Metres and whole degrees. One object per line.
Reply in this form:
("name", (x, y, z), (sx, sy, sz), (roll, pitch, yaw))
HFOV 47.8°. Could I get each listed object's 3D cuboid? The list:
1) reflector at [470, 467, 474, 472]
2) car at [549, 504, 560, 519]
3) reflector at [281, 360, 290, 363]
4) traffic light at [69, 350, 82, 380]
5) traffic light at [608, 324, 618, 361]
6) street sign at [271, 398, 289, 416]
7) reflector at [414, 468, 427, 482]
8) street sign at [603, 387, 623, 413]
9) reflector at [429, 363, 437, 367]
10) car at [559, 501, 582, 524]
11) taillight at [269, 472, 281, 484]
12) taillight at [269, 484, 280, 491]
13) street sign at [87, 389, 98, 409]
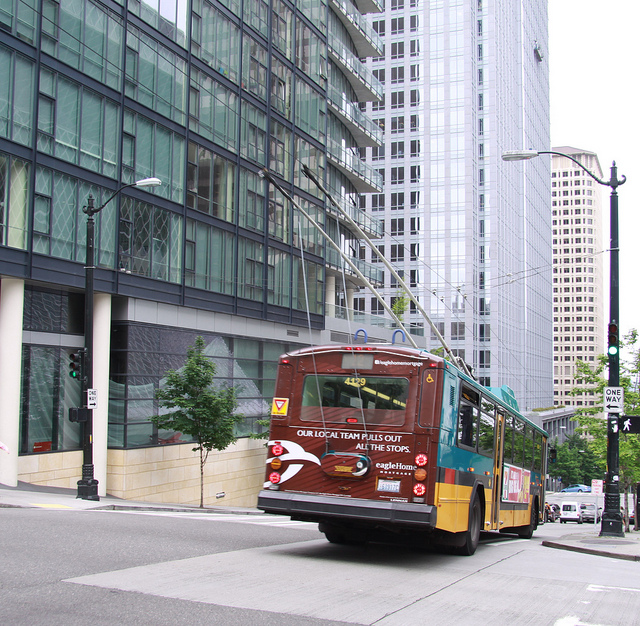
("reflector", (2.526, 2.593, 11.938), (0.067, 0.080, 0.120), (-4, -7, 15))
("car", (18.265, 15.514, 56.501), (1.060, 0.885, 1.908), (-4, -2, 25))
("reflector", (-0.549, 0.753, 11.247), (0.161, 0.044, 0.037), (-7, -10, 44))
("traffic light", (-7.213, 1.542, 21.254), (0.353, 0.789, 0.264), (3, -8, -19))
("traffic light", (7.199, 0.722, 17.645), (0.214, 0.889, 0.399), (-3, -8, 22))
("street sign", (-0.651, 1.443, 11.076), (0.350, 0.267, 0.126), (-6, -10, 39))
("reflector", (1.391, 2.243, 9.986), (0.173, 0.164, 0.169), (1, -7, 2))
("street sign", (7.179, 2.117, 17.607), (0.392, 0.626, 0.418), (-2, -8, 16))
("reflector", (1.624, 0.741, 10.326), (0.107, 0.046, 0.022), (-1, -7, 8))
("car", (19.625, 15.884, 56.461), (1.620, 1.454, 2.934), (-1, -3, 14))
("taillight", (-0.684, 2.473, 10.833), (0.200, 0.168, 0.031), (-5, -9, 34))
("taillight", (-0.692, 2.608, 10.803), (0.181, 0.085, 0.035), (-3, -8, 25))
("street sign", (-6.851, 2.580, 21.608), (0.202, 0.578, 0.450), (-1, -8, 13))
